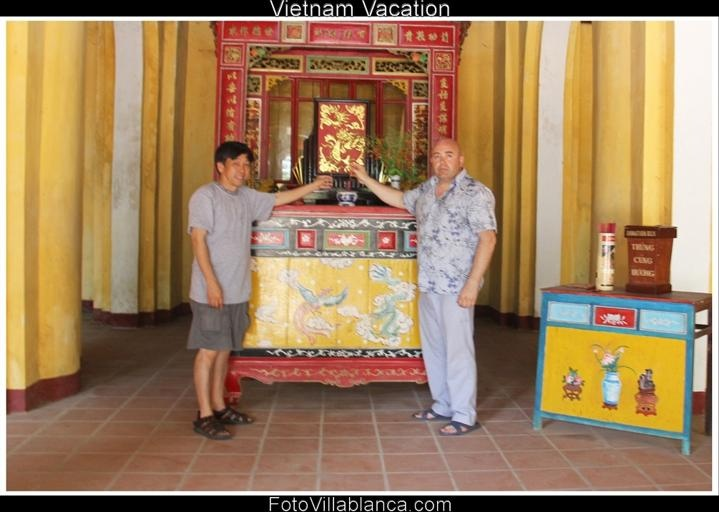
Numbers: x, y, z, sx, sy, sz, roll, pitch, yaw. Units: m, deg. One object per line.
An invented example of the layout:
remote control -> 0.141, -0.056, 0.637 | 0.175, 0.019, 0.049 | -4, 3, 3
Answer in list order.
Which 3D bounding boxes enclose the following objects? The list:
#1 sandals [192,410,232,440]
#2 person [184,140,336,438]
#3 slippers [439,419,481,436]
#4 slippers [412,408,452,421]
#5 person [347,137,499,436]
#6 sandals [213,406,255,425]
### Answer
sandals -> -1.123, 1.302, 5.012 | 0.349, 0.126, 0.131 | 2, 1, 14
person -> -1.025, 0.219, 5.220 | 0.624, 2.216, 0.958 | 2, 11, 6
slippers -> 0.773, 1.334, 5.135 | 0.259, 0.054, 0.122 | 2, 0, -14
slippers -> 0.579, 1.300, 5.417 | 0.291, 0.072, 0.111 | 2, -3, 2
person -> 0.706, 0.194, 5.372 | 0.587, 2.252, 0.996 | -4, 12, -24
sandals -> -1.013, 1.285, 5.313 | 0.346, 0.123, 0.121 | 0, 4, -2
